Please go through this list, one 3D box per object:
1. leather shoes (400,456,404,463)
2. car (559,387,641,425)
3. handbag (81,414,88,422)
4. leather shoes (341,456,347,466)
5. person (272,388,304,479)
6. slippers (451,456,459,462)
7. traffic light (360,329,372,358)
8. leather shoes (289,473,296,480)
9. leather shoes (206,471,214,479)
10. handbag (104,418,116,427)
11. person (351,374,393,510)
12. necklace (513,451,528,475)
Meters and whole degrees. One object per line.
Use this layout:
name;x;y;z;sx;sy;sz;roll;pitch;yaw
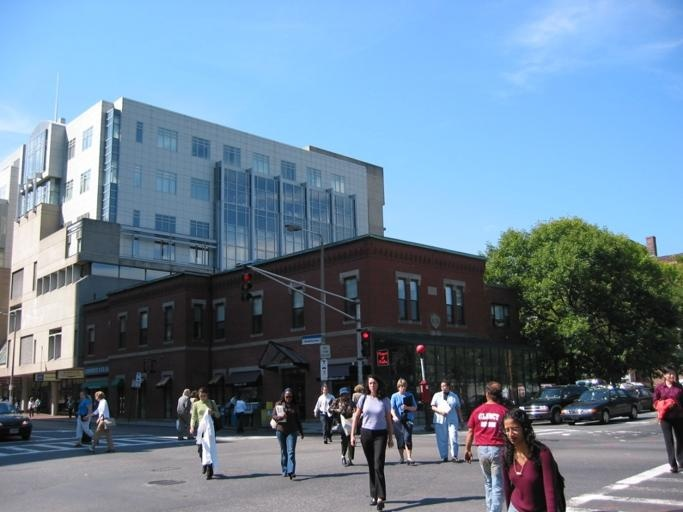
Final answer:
leather shoes;1.835;6.171;19.784;0.148;0.155;0.065;4;-16;-3
car;12.882;7.474;32.631;4.595;1.747;1.378;7;-19;-36
handbag;-10.594;6.701;27.023;0.244;0.329;0.442;3;-5;-39
leather shoes;0.085;6.200;19.822;0.146;0.270;0.431;-3;-16;-2
person;-1.517;4.937;18.272;0.779;2.448;1.306;-3;-15;-4
slippers;3.408;6.114;19.657;0.105;0.147;0.206;9;-23;-30
traffic light;1.119;4.076;30.643;0.398;1.187;0.853;-3;-15;-3
leather shoes;-1.330;5.923;17.591;0.109;0.175;0.095;10;5;20
leather shoes;-3.643;6.029;18.104;0.156;0.280;0.428;0;-16;-13
handbag;-8.690;6.203;24.471;0.338;0.294;0.585;6;-19;-34
person;0.721;4.209;14.861;0.867;2.871;1.137;-4;-15;0
necklace;2.682;3.141;9.938;0.226;0.345;0.081;-3;-12;24
